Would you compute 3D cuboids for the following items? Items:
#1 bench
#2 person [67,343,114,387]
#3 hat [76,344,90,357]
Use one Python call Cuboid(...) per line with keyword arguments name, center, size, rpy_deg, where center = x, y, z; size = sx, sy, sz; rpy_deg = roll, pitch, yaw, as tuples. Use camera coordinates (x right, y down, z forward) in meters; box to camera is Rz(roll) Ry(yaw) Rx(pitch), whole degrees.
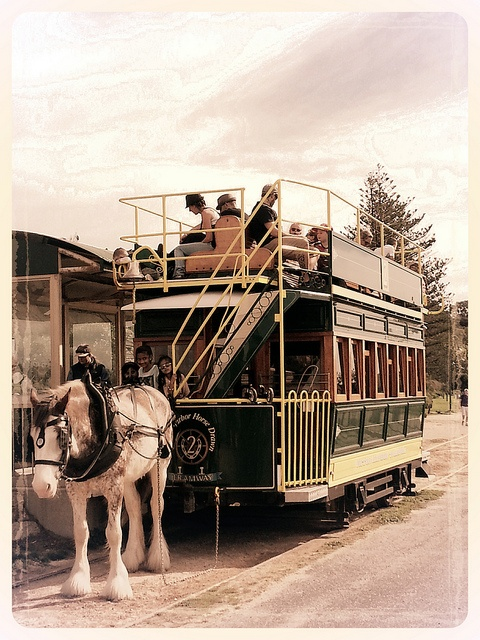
Cuboid(name="bench", center=(-0.149, -0.885, 12.189), size=(1.080, 0.764, 0.430), rpy_deg=(-3, -11, -9))
Cuboid(name="person", center=(-1.772, 0.662, 11.562), size=(0.472, 0.773, 0.358), rpy_deg=(0, 9, -13))
Cuboid(name="hat", center=(-1.782, 0.358, 11.148), size=(0.134, 0.134, 0.323), rpy_deg=(0, -3, -6))
